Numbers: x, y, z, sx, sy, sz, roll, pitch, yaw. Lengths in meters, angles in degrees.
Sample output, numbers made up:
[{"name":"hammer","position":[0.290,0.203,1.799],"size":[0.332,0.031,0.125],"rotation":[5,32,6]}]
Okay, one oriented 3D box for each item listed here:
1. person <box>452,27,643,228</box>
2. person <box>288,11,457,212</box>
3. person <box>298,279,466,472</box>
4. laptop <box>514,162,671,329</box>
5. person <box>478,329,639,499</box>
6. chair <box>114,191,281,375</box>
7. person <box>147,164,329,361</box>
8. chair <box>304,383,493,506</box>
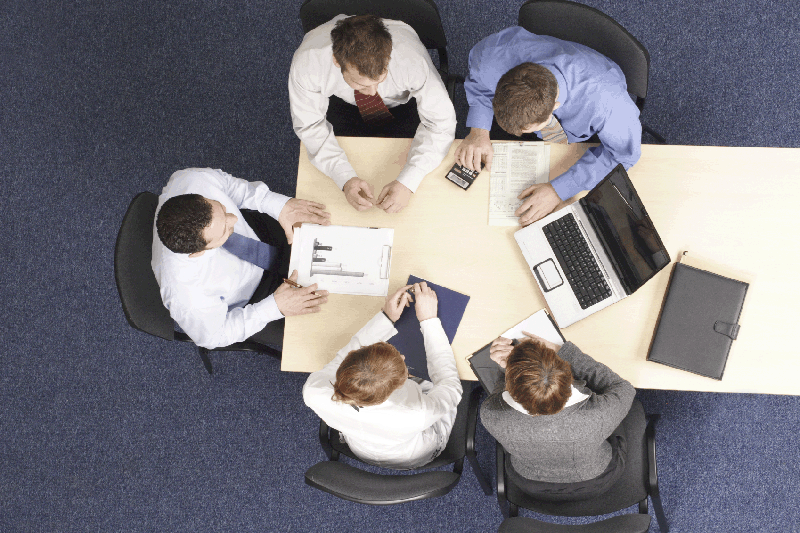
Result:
[{"name":"person","position":[0.797,-0.708,3.657],"size":[0.564,0.989,0.584],"rotation":[31,112,18]},{"name":"person","position":[-0.153,-0.902,3.757],"size":[0.804,0.890,1.144],"rotation":[-3,94,2]},{"name":"person","position":[-0.028,0.603,4.001],"size":[0.706,1.686,1.058],"rotation":[4,71,8]},{"name":"laptop","position":[0.967,-0.078,3.541],"size":[0.642,0.232,0.531],"rotation":[-30,73,-2]},{"name":"person","position":[0.841,0.711,3.672],"size":[0.735,1.109,0.729],"rotation":[-8,57,13]},{"name":"chair","position":[-1.016,0.058,3.996],"size":[0.921,1.298,0.880],"rotation":[0,95,6]},{"name":"person","position":[-0.853,0.002,4.102],"size":[0.819,1.646,0.966],"rotation":[-6,73,4]},{"name":"chair","position":[0.025,0.923,3.657],"size":[0.648,1.151,0.757],"rotation":[8,92,6]}]
